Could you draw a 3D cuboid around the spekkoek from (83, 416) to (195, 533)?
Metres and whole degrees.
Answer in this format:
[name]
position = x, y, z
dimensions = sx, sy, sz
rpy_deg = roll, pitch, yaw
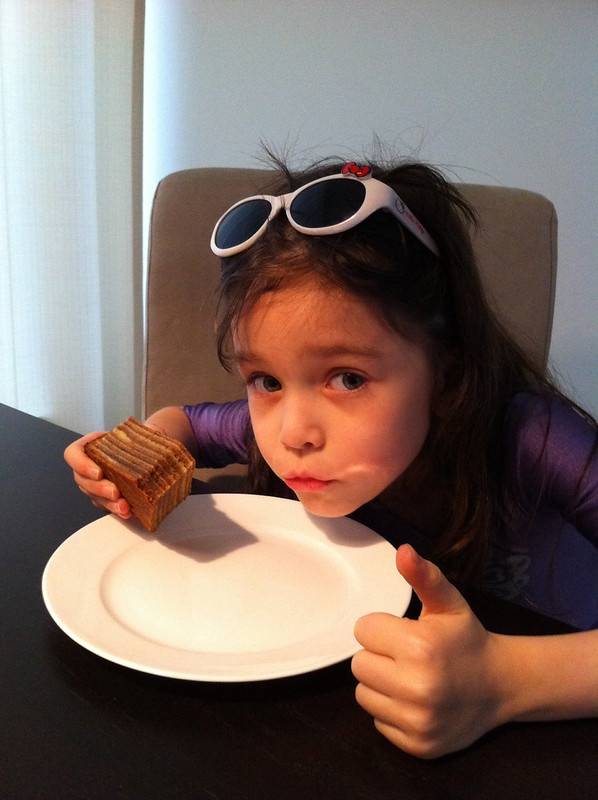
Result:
[spekkoek]
position = -0.171, 0.068, 0.858
dimensions = 0.090, 0.092, 0.139
rpy_deg = 7, 30, 7

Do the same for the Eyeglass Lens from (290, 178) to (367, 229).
[Eyeglass Lens]
position = 0.028, -0.197, 0.785
dimensions = 0.080, 0.055, 0.047
rpy_deg = 2, 16, 6

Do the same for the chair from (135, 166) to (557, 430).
[chair]
position = 0.077, -0.203, 1.628
dimensions = 0.548, 0.613, 0.573
rpy_deg = 4, 7, 8

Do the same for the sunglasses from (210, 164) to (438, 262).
[sunglasses]
position = 0.013, -0.196, 0.801
dimensions = 0.193, 0.053, 0.121
rpy_deg = 2, -21, 42
